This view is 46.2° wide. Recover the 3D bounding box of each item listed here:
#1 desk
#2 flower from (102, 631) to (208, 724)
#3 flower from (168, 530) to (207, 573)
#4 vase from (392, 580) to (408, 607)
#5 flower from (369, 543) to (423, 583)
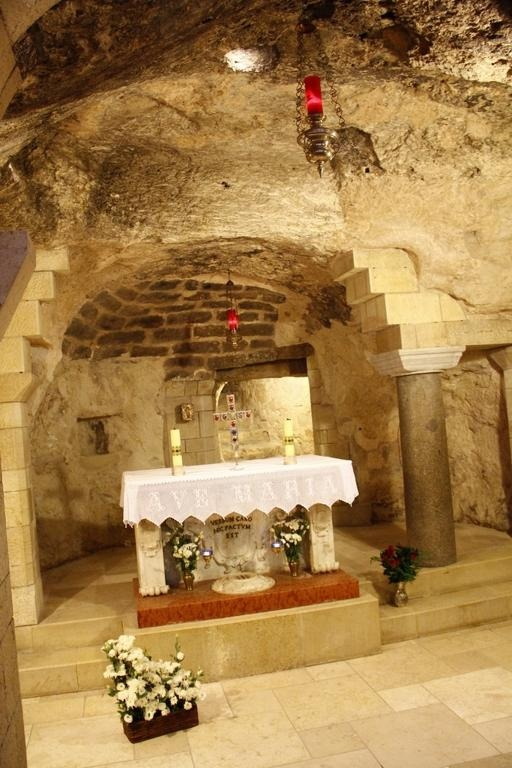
[{"bbox_3d":[-0.191,1.048,4.880,2.044,0.966,0.966,3,10,-37],"label":"desk"},{"bbox_3d":[-0.516,1.799,3.543,0.379,0.332,0.456,12,-27,10],"label":"flower"},{"bbox_3d":[-0.518,1.226,4.539,0.349,0.400,0.335,0,-8,-4],"label":"flower"},{"bbox_3d":[1.189,1.703,5.000,0.126,0.234,0.305,-4,3,13],"label":"vase"},{"bbox_3d":[1.176,1.506,4.968,0.325,0.368,0.355,-4,3,16],"label":"flower"}]
